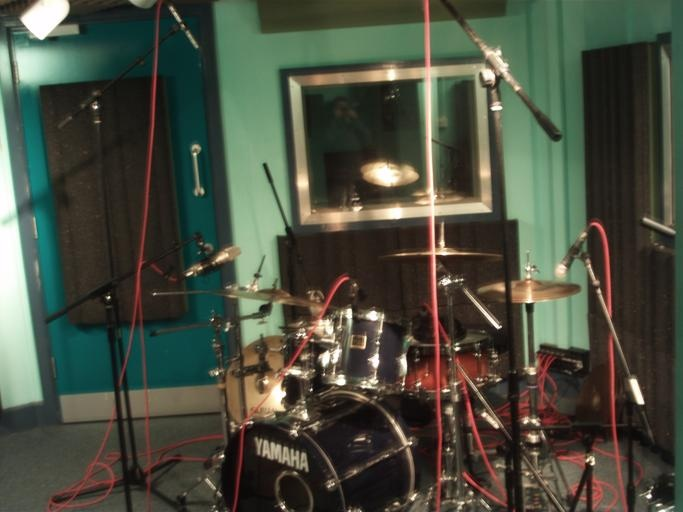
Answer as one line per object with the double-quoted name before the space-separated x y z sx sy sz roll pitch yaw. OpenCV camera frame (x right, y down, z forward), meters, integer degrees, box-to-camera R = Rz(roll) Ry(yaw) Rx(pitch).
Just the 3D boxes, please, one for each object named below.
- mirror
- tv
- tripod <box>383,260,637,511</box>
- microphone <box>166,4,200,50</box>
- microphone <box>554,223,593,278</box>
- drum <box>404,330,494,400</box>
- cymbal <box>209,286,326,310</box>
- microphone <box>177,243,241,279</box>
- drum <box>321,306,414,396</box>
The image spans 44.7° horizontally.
"mirror" 0.271 -0.604 4.561 1.171 0.859 0.047 -4 10 -7
"tv" 0.274 -0.602 4.401 1.002 0.738 0.069 -2 3 -2
"tripod" 0.990 0.604 3.741 0.970 0.929 0.831 -8 1 -12
"microphone" -0.813 -1.185 4.261 0.079 0.389 0.067 -3 -39 -45
"microphone" 1.130 -0.044 4.051 0.079 0.287 0.077 37 15 28
"drum" 0.527 0.526 4.110 0.341 0.198 0.340 0 0 0
"cymbal" -0.324 0.188 3.831 0.228 0.052 0.221 12 -2 -40
"microphone" -0.609 0.023 3.853 0.293 0.121 0.086 -28 16 -11
"drum" 0.171 0.448 4.086 0.467 0.387 0.353 0 0 28
